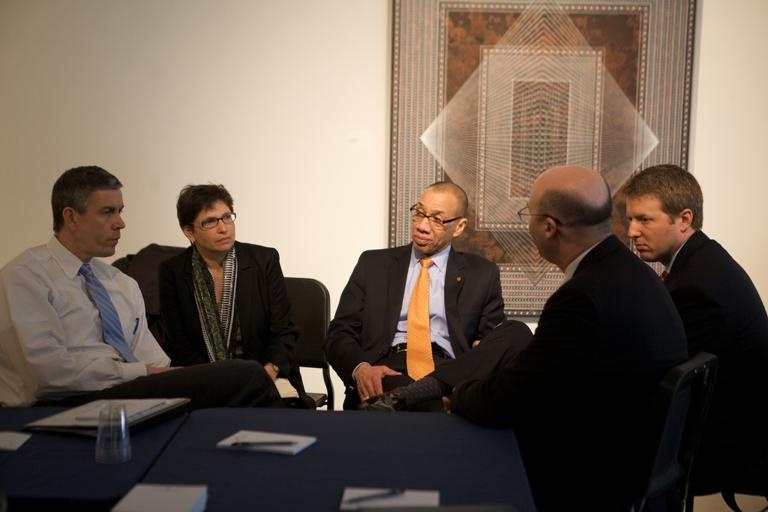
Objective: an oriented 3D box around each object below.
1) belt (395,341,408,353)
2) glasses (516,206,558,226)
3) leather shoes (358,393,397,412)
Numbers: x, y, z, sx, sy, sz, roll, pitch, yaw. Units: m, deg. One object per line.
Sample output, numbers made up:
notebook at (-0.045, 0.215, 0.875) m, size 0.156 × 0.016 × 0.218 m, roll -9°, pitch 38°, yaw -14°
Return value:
belt at (0.089, 0.517, 3.375) m, size 0.048 × 0.031 × 0.066 m, roll 3°, pitch -12°, yaw -33°
glasses at (0.724, -0.194, 2.802) m, size 0.176 × 0.057 × 0.181 m, roll 8°, pitch 10°, yaw 17°
leather shoes at (-0.023, 0.711, 2.882) m, size 0.109 × 0.045 × 0.094 m, roll -5°, pitch -1°, yaw 8°
